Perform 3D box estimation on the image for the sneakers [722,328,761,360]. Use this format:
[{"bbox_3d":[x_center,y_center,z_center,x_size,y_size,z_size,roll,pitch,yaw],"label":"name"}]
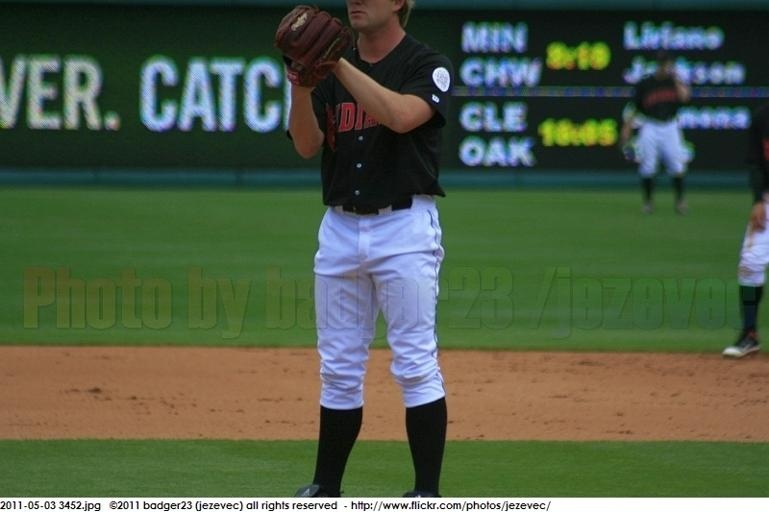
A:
[{"bbox_3d":[3.209,0.812,16.008,0.450,0.191,0.151,-2,-2,-25],"label":"sneakers"}]
